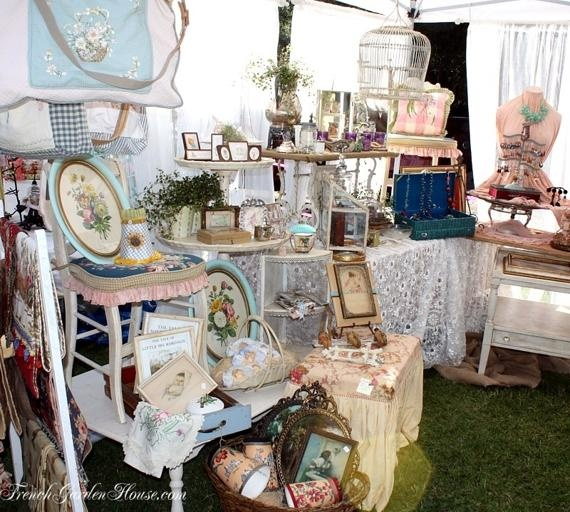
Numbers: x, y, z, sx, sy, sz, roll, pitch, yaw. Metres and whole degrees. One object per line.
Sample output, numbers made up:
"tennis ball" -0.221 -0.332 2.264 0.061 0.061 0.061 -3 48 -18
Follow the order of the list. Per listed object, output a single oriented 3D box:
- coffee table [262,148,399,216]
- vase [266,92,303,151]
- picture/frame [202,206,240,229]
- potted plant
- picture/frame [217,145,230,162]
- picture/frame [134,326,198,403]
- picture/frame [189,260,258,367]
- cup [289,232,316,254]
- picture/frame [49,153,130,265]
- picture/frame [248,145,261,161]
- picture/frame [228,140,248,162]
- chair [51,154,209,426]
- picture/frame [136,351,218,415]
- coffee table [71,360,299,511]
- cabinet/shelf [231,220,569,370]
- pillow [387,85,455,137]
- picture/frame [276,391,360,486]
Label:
"coffee table" 0.363 -0.635 3.589 1.042 0.482 0.556 -12 17 -43
"vase" -0.013 -1.086 3.486 0.285 0.430 0.250 -1 13 -3
"picture/frame" -0.418 -0.240 2.709 0.157 0.108 0.017 -1 4 -24
"potted plant" -0.651 -0.385 2.895 0.728 0.499 0.515 0 21 -5
"picture/frame" -0.403 -0.673 2.813 0.084 0.107 0.026 0 14 4
"picture/frame" -0.611 0.565 2.194 0.398 0.366 0.030 1 -18 -34
"picture/frame" -0.421 0.362 3.031 0.616 0.588 0.105 10 -2 -28
"cup" 0.103 -0.085 2.873 0.145 0.107 0.143 1 2 0
"picture/frame" -1.016 -0.255 2.243 0.076 0.548 0.526 -15 -2 31
"picture/frame" -0.207 -0.682 2.882 0.109 0.101 0.031 -9 14 -34
"picture/frame" -0.317 -0.685 2.826 0.136 0.138 0.021 -5 8 -23
"chair" -0.866 0.152 2.268 0.721 1.302 0.502 9 16 34
"picture/frame" -0.533 0.641 2.153 0.355 0.244 0.152 -12 17 -41
"coffee table" -0.844 0.824 2.349 0.730 0.292 0.706 -13 20 -43
"cabinet/shelf" 0.993 0.185 3.830 1.994 0.981 1.596 8 15 38
"pillow" 1.628 -1.694 5.164 0.756 0.762 0.236 7 2 -9
"picture/frame" 0.144 0.892 2.075 0.335 0.366 0.099 6 -20 3
